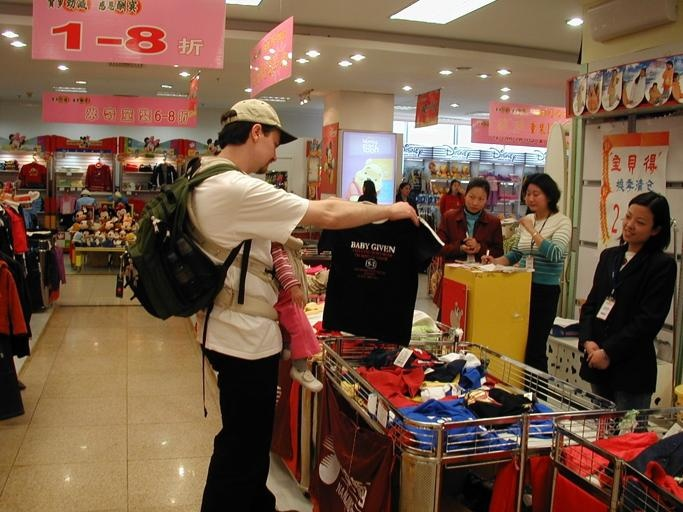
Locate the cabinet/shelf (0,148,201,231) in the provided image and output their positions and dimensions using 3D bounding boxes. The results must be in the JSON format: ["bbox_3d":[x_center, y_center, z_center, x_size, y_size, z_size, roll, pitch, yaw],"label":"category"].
[{"bbox_3d":[-5.531,-1.464,10.668,2.587,1.462,0.350,0,3,-7],"label":"cabinet/shelf"}]

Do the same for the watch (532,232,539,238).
[{"bbox_3d":[1.524,-0.160,3.922,0.041,0.033,0.043,0,-1,-1],"label":"watch"}]

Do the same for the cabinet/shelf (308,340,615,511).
[{"bbox_3d":[0.701,0.805,2.701,1.427,0.506,1.217,-1,9,-21],"label":"cabinet/shelf"}]

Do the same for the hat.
[{"bbox_3d":[-0.388,-0.649,2.376,0.307,0.161,0.203,5,-1,-24],"label":"hat"}]
